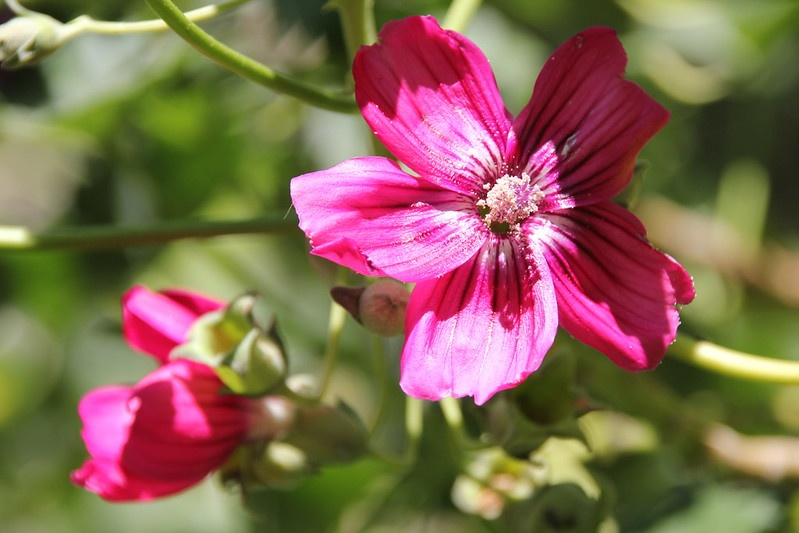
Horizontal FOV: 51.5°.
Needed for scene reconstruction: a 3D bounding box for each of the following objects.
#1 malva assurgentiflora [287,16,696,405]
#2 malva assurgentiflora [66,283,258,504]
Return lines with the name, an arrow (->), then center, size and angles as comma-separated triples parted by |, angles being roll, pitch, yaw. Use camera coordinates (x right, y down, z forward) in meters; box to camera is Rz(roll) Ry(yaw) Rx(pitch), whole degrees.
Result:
malva assurgentiflora -> 0.170, -0.129, 1.578 | 0.732, 0.454, 0.605 | -11, 50, -4
malva assurgentiflora -> -0.462, 0.265, 1.661 | 0.329, 0.243, 0.404 | 18, 54, 19
